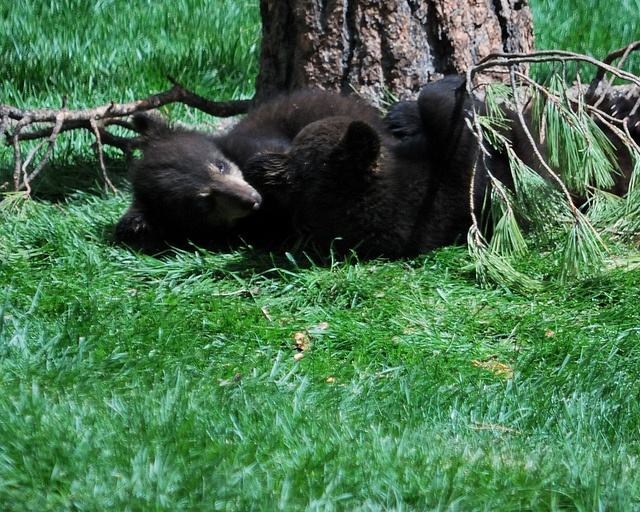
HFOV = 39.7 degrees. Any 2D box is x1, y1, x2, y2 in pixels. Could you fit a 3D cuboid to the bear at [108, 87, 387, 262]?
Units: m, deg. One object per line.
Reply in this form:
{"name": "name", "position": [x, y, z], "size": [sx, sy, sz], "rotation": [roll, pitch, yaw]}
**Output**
{"name": "bear", "position": [-0.524, -0.507, 4.966], "size": [1.512, 0.700, 0.765], "rotation": [7, 24, 31]}

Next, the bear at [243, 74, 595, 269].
{"name": "bear", "position": [0.583, -0.398, 4.867], "size": [1.465, 0.751, 0.806], "rotation": [7, -11, -36]}
